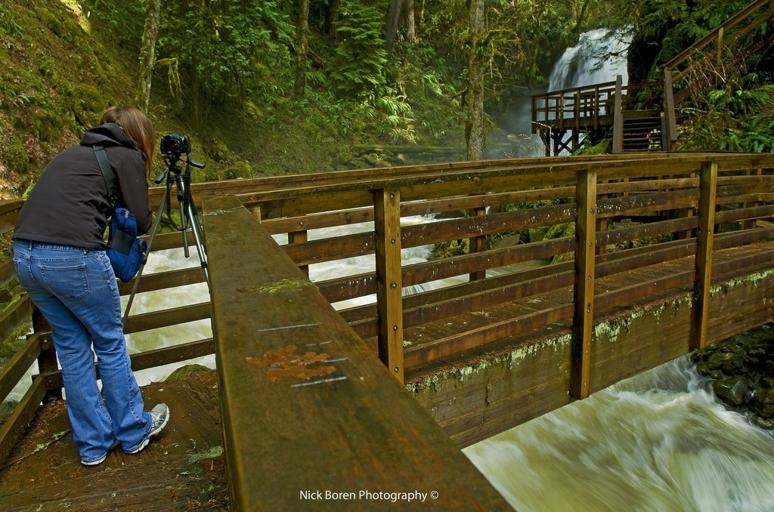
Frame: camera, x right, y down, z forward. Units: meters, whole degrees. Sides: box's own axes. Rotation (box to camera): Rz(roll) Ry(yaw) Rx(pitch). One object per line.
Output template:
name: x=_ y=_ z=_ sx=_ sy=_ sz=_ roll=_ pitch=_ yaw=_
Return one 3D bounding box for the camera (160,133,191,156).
camera: x=-1.830 y=-0.949 z=4.670 sx=0.258 sy=0.204 sz=0.189 roll=-2 pitch=4 yaw=-18

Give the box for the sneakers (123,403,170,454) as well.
sneakers: x=-1.792 y=1.280 z=4.031 sx=0.122 sy=0.167 sz=0.368 roll=30 pitch=55 yaw=6

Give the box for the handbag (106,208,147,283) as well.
handbag: x=-1.860 y=-0.093 z=3.845 sx=0.277 sy=0.497 sz=0.404 roll=2 pitch=17 yaw=-38

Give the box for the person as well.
person: x=-2.022 y=0.277 z=3.773 sx=0.840 sy=2.251 sz=0.672 roll=-14 pitch=23 yaw=-32
